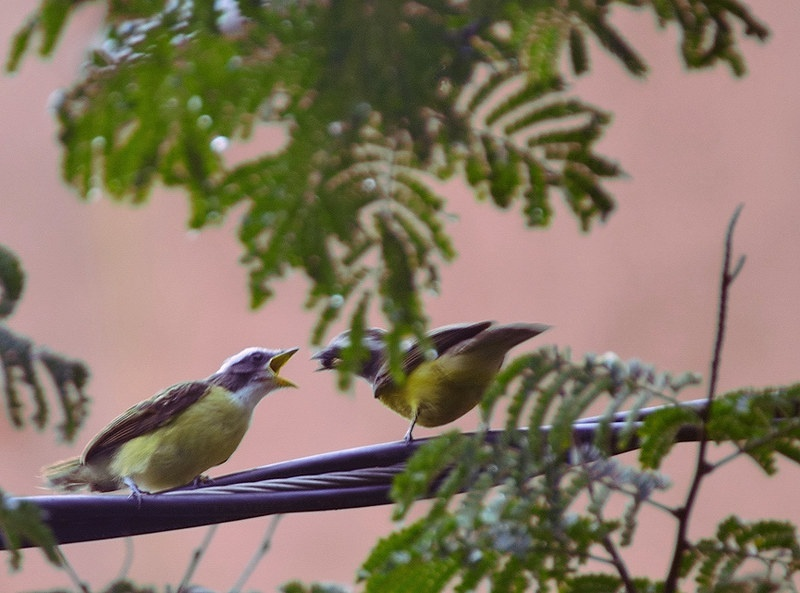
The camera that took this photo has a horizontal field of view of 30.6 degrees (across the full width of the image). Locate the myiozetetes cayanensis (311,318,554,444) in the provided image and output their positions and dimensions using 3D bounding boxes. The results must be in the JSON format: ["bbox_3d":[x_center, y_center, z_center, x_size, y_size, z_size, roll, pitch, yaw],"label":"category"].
[{"bbox_3d":[0.051,0.076,1.388,0.158,0.088,0.053,-34,-30,22],"label":"myiozetetes cayanensis"}]

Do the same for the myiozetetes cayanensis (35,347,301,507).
[{"bbox_3d":[-0.257,0.148,1.625,0.284,0.175,0.119,-5,-31,22],"label":"myiozetetes cayanensis"}]
